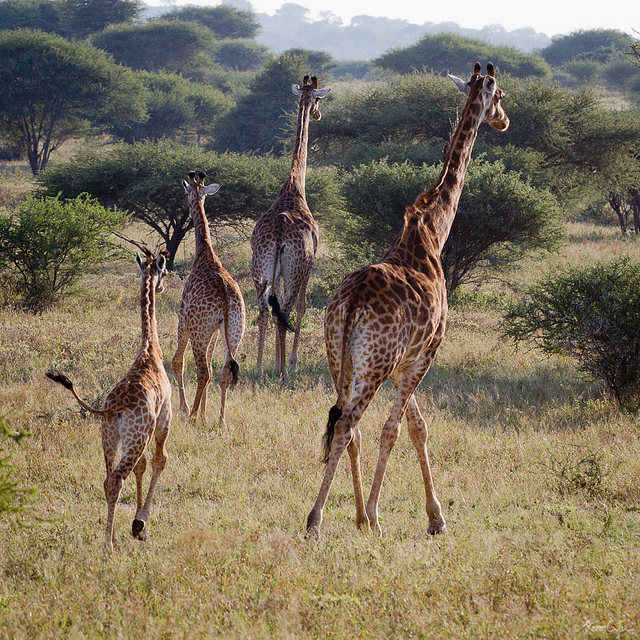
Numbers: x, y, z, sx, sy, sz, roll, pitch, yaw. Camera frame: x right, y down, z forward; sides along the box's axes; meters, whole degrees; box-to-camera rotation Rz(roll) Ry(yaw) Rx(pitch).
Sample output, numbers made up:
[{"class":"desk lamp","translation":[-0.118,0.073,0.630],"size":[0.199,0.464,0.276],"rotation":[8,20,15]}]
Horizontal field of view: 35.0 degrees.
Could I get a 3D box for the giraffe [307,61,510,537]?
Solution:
[{"class":"giraffe","translation":[1.213,-0.324,11.486],"size":[1.610,5.122,3.427],"rotation":[13,16,30]}]
